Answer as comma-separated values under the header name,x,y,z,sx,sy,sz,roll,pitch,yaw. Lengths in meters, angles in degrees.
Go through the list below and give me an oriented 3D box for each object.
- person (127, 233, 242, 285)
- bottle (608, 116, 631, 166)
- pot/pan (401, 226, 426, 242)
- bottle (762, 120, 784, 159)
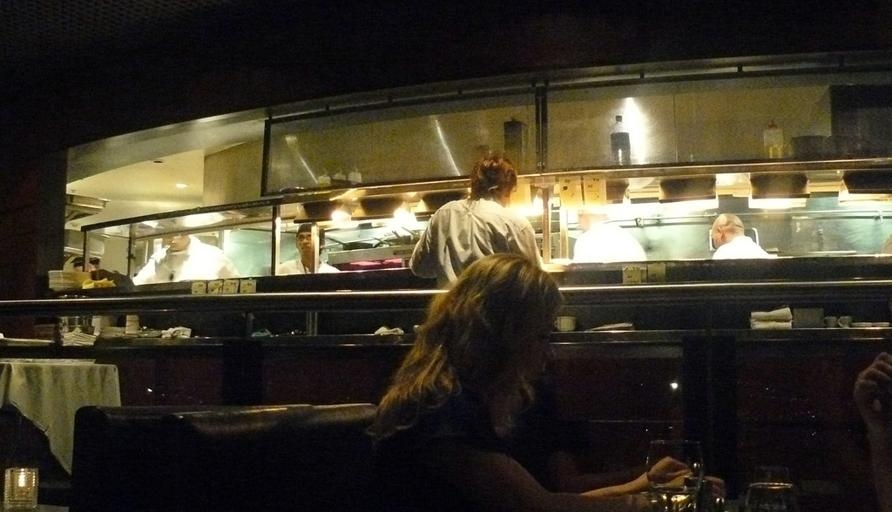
name,x,y,z,sx,sy,sz,roll,pitch,yaw
person,-2.269,0.113,8.029,1.100,0.390,0.284,1,-14,10
bottle,1.190,-0.787,6.221,0.144,0.379,0.171,-3,-3,-9
pot/pan,-0.292,-0.193,8.051,0.198,0.069,0.220,1,-1,-4
bottle,2.155,-0.769,6.055,0.134,0.286,0.240,-5,-3,19
